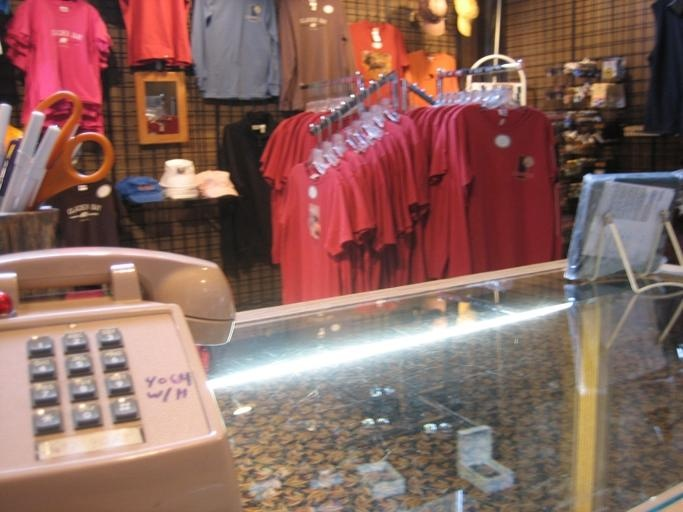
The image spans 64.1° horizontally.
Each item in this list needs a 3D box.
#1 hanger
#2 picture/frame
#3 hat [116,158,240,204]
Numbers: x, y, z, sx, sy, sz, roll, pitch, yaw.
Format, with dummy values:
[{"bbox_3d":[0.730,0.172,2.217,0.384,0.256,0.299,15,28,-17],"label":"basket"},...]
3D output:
[{"bbox_3d":[0.287,-0.672,2.450,1.167,0.450,0.801,-24,27,-26],"label":"hanger"},{"bbox_3d":[-1.160,-0.958,3.529,0.378,0.455,0.032,3,10,16],"label":"picture/frame"},{"bbox_3d":[-1.006,-0.458,3.324,0.689,0.255,0.316,-10,14,-25],"label":"hat"}]
